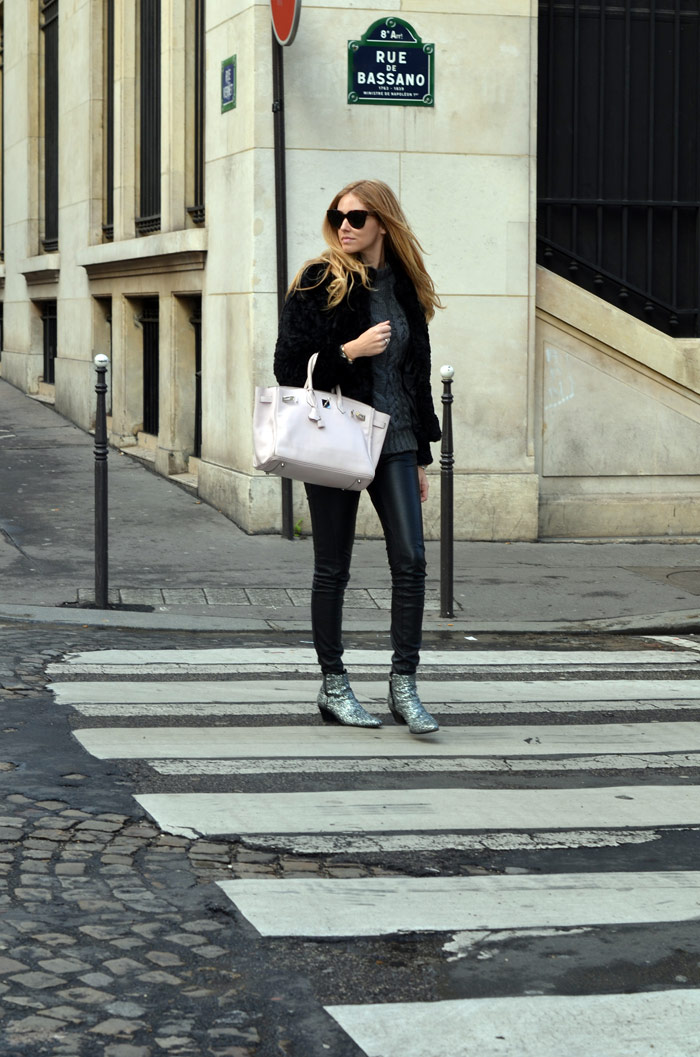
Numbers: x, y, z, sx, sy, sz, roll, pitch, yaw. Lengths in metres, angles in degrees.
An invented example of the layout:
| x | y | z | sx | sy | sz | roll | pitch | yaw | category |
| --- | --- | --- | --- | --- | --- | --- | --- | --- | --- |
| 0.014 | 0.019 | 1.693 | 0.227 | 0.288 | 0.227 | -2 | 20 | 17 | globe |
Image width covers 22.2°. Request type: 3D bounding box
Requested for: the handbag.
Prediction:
| x | y | z | sx | sy | sz | roll | pitch | yaw | category |
| --- | --- | --- | --- | --- | --- | --- | --- | --- | --- |
| -0.075 | -0.280 | 5.273 | 0.233 | 0.260 | 0.083 | 16 | -37 | -14 | handbag |

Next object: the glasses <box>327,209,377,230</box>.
| x | y | z | sx | sy | sz | roll | pitch | yaw | category |
| --- | --- | --- | --- | --- | --- | --- | --- | --- | --- |
| -0.016 | -0.945 | 5.430 | 0.070 | 0.067 | 0.184 | -1 | 7 | -36 | glasses |

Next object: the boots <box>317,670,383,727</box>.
| x | y | z | sx | sy | sz | roll | pitch | yaw | category |
| --- | --- | --- | --- | --- | --- | --- | --- | --- | --- |
| 0.026 | 0.565 | 5.739 | 0.260 | 0.195 | 0.103 | 2 | 1 | 37 | boots |

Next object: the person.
| x | y | z | sx | sy | sz | roll | pitch | yaw | category |
| --- | --- | --- | --- | --- | --- | --- | --- | --- | --- |
| 0.064 | -0.208 | 5.526 | 0.444 | 1.742 | 0.676 | 6 | 7 | 37 | person |

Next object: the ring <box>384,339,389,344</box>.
| x | y | z | sx | sy | sz | roll | pitch | yaw | category |
| --- | --- | --- | --- | --- | --- | --- | --- | --- | --- |
| 0.111 | -0.559 | 5.326 | 0.009 | 0.012 | 0.012 | 1 | 8 | 35 | ring |

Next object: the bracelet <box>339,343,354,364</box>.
| x | y | z | sx | sy | sz | roll | pitch | yaw | category |
| --- | --- | --- | --- | --- | --- | --- | --- | --- | --- |
| -0.009 | -0.522 | 5.269 | 0.017 | 0.049 | 0.036 | -14 | 10 | -42 | bracelet |
